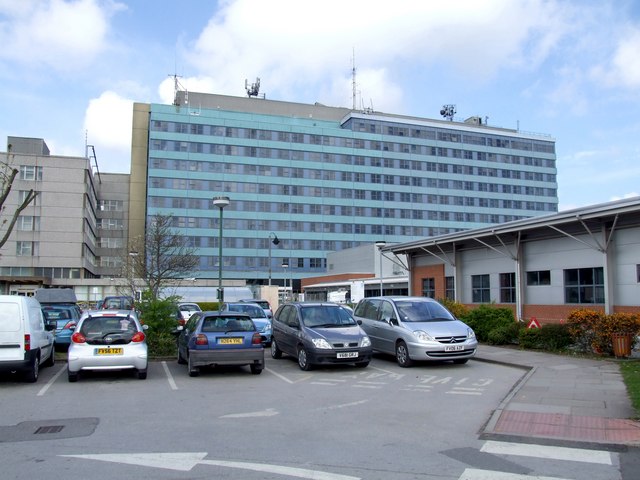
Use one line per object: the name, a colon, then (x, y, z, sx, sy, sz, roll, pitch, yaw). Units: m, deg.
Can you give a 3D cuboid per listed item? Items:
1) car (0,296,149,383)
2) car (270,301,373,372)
car: (-6.156, 2.463, 14.490, 3.222, 2.193, 2.676, 0, -2, -20)
car: (-0.092, 2.719, 16.171, 1.523, 1.223, 2.771, 3, -8, -24)
